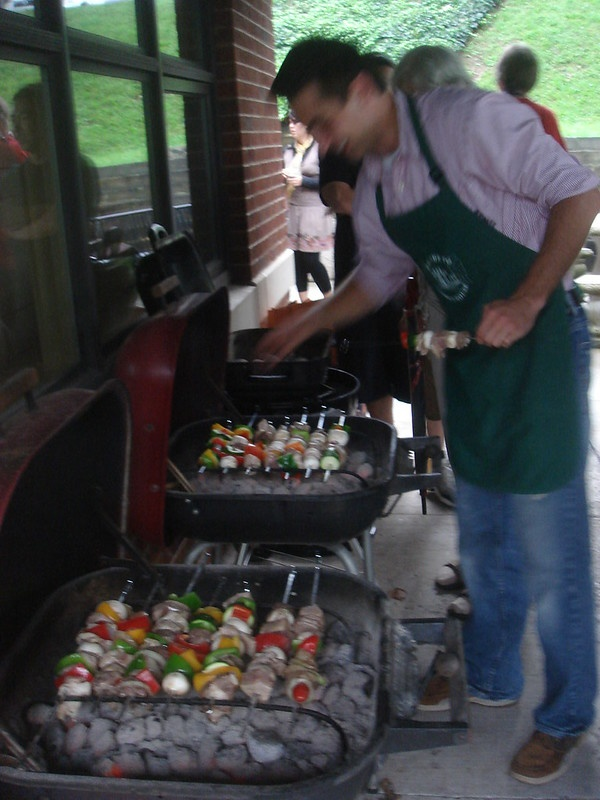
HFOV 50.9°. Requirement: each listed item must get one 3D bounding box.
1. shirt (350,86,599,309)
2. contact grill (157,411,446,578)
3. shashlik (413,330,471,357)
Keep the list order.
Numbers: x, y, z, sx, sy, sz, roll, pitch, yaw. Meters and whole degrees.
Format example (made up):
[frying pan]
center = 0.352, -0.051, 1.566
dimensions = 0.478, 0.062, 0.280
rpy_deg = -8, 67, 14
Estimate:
[shirt]
center = 0.350, -0.414, 1.439
dimensions = 0.276, 0.535, 0.655
rpy_deg = -11, 24, -17
[contact grill]
center = 0.012, 0.119, 1.564
dimensions = 0.455, 0.230, 0.570
rpy_deg = 2, 11, 16
[shashlik]
center = 0.303, -0.119, 1.384
dimensions = 0.045, 0.048, 0.149
rpy_deg = -7, 9, -26
